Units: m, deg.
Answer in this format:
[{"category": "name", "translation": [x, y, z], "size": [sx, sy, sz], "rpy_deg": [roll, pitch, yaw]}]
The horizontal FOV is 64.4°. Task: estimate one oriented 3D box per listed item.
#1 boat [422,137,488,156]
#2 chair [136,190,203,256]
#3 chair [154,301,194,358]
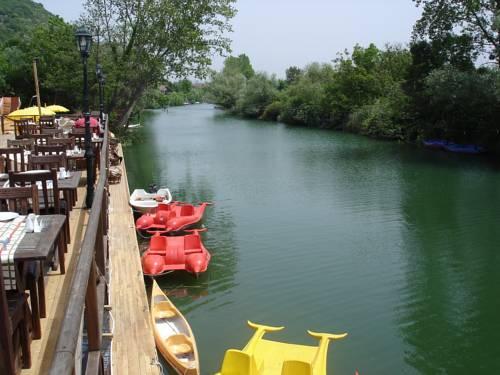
[{"category": "boat", "translation": [19.324, -3.968, 38.144], "size": [2.421, 1.231, 5.493], "rpy_deg": [-2, 7, -15]}, {"category": "chair", "translation": [-3.329, 1.605, 17.433], "size": [1.552, 0.807, 2.872], "rpy_deg": [4, 16, 8]}, {"category": "chair", "translation": [-1.834, 3.462, 9.608], "size": [0.521, 0.327, 1.809], "rpy_deg": [-4, 19, -15]}]
